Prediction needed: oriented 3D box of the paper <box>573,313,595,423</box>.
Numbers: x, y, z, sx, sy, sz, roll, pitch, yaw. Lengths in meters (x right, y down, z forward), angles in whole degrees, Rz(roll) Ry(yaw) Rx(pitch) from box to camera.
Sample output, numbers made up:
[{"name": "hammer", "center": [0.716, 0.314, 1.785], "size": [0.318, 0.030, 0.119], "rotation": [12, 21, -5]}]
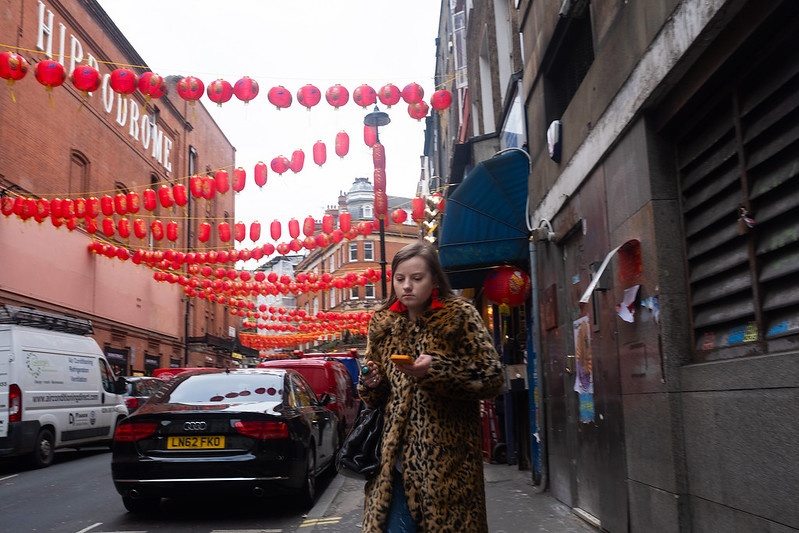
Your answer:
[{"name": "paper", "center": [2.223, 1.098, 7.668], "size": [0.068, 0.932, 0.837], "rotation": [-2, -5, 34]}]

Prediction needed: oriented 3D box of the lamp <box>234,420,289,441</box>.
[{"name": "lamp", "center": [-1.699, 2.034, 7.881], "size": [0.407, 0.150, 0.307], "rotation": [8, -11, -15]}]
